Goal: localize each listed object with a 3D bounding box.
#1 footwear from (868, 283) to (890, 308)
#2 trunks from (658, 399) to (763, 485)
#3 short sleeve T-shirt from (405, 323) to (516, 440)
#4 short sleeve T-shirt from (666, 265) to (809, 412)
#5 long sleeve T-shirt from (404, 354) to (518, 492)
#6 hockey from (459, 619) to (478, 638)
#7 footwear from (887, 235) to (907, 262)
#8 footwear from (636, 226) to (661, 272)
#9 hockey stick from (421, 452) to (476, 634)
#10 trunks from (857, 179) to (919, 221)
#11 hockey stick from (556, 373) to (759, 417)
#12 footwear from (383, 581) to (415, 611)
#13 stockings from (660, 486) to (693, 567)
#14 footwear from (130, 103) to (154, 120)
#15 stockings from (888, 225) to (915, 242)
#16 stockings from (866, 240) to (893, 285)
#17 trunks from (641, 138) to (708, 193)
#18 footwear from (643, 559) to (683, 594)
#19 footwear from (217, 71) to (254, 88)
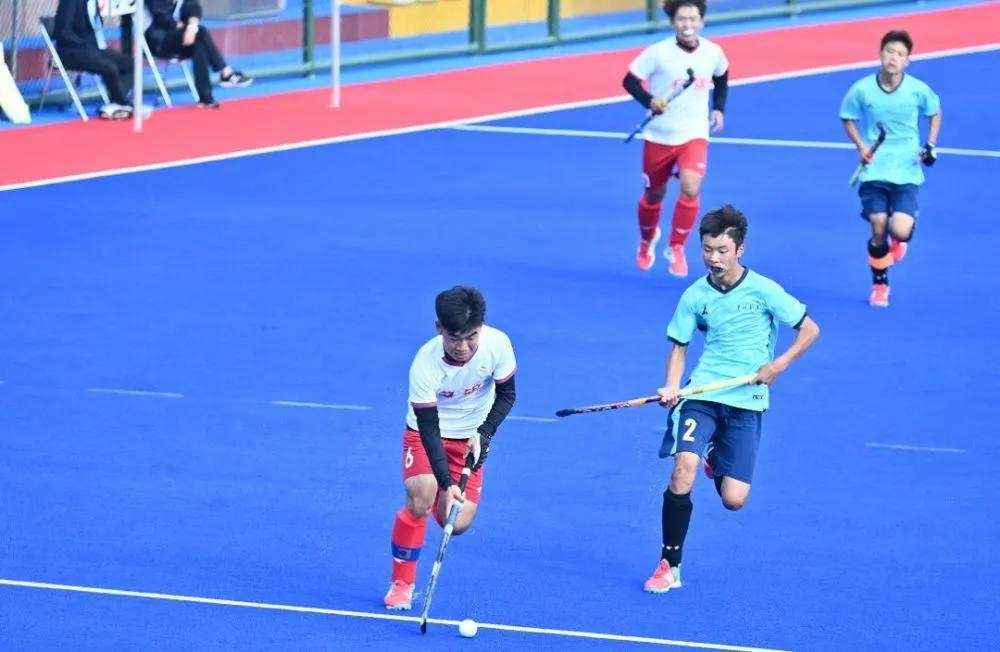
[{"bbox_3d":[3.255,-0.293,13.968,0.121,0.236,0.117,-1,-35,20],"label":"footwear"},{"bbox_3d":[1.438,0.772,11.061,0.519,0.471,0.280,19,-14,-12],"label":"trunks"},{"bbox_3d":[-0.297,0.380,10.848,0.780,0.687,0.435,-5,27,-25],"label":"short sleeve T-shirt"},{"bbox_3d":[1.654,0.049,11.223,1.092,0.913,0.529,3,11,28],"label":"short sleeve T-shirt"},{"bbox_3d":[-0.227,0.657,10.797,0.532,0.821,0.648,5,-14,3],"label":"long sleeve T-shirt"},{"bbox_3d":[-0.196,1.941,10.552,0.114,0.105,0.111,-7,-5,27],"label":"hockey"},{"bbox_3d":[3.462,-0.678,14.168,0.189,0.226,0.241,0,1,-5],"label":"footwear"},{"bbox_3d":[1.314,-0.676,14.713,0.166,0.433,0.191,11,3,30],"label":"footwear"},{"bbox_3d":[-0.331,1.324,10.667,0.236,1.424,0.079,23,-35,-23],"label":"hockey stick"},{"bbox_3d":[3.312,-0.973,13.926,0.525,0.379,0.301,-1,-11,18],"label":"trunks"},{"bbox_3d":[1.148,0.499,11.714,1.911,0.195,0.137,-6,-12,10],"label":"hockey stick"},{"bbox_3d":[-0.658,1.767,10.720,0.131,0.116,0.242,0,14,-2],"label":"footwear"},{"bbox_3d":[1.182,1.329,10.930,0.186,0.543,0.252,0,13,5],"label":"stockings"},{"bbox_3d":[-3.867,-2.369,17.790,0.202,0.093,0.272,0,19,-7],"label":"footwear"},{"bbox_3d":[3.390,-0.785,13.788,0.179,0.164,0.306,2,12,12],"label":"stockings"},{"bbox_3d":[3.216,-0.562,13.919,0.179,0.459,0.134,-2,2,21],"label":"stockings"},{"bbox_3d":[1.521,-1.446,14.421,0.696,0.588,0.386,4,-2,28],"label":"trunks"},{"bbox_3d":[1.096,1.665,10.946,0.151,0.171,0.308,-2,-1,39],"label":"footwear"},{"bbox_3d":[-3.010,-2.793,18.581,0.409,0.165,0.187,-2,34,6],"label":"footwear"}]
